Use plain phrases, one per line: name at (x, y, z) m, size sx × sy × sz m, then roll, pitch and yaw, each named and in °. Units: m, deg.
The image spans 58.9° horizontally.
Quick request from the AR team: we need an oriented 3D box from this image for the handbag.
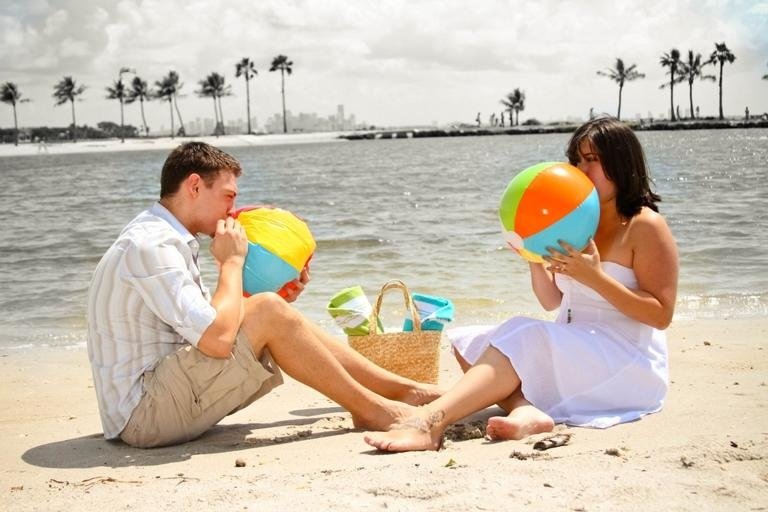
handbag at (0.211, 0.603, 5.195) m, size 0.917 × 0.791 × 0.529 m, roll 2°, pitch 1°, yaw 5°
